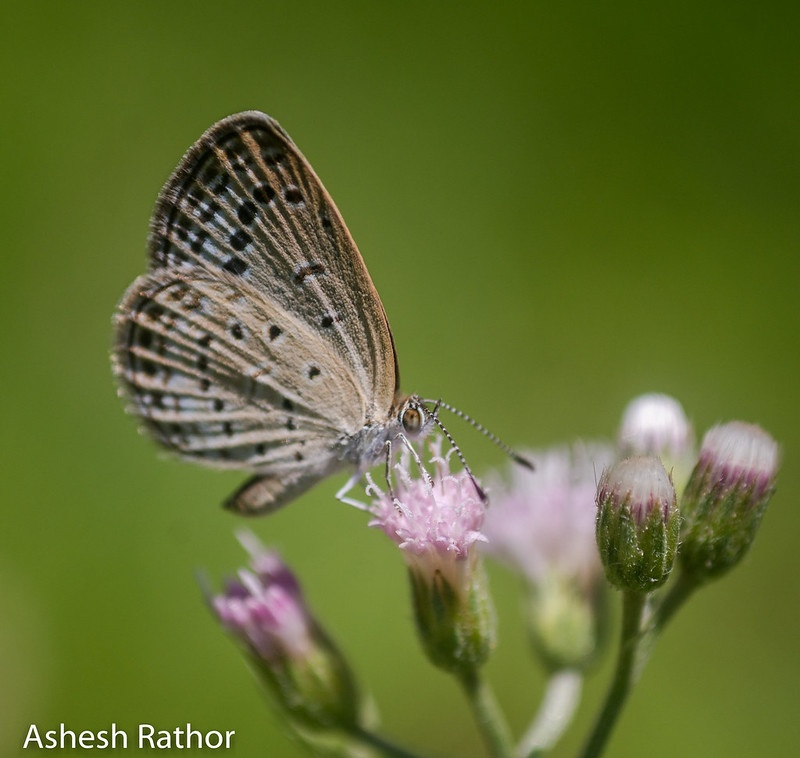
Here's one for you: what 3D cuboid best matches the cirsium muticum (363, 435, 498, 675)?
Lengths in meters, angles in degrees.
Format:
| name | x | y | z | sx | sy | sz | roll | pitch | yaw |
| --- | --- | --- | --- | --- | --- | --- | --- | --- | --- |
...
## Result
| name | x | y | z | sx | sy | sz | roll | pitch | yaw |
| --- | --- | --- | --- | --- | --- | --- | --- | --- | --- |
| cirsium muticum | 0.078 | 0.441 | 2.387 | 0.400 | 0.546 | 0.178 | -1 | -17 | 42 |
